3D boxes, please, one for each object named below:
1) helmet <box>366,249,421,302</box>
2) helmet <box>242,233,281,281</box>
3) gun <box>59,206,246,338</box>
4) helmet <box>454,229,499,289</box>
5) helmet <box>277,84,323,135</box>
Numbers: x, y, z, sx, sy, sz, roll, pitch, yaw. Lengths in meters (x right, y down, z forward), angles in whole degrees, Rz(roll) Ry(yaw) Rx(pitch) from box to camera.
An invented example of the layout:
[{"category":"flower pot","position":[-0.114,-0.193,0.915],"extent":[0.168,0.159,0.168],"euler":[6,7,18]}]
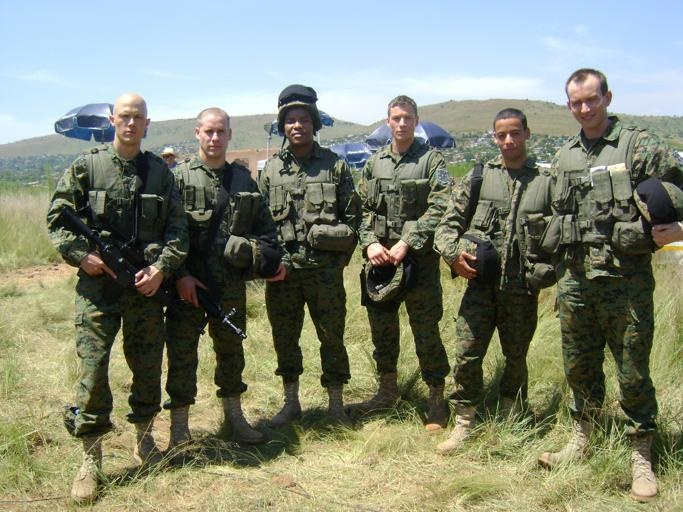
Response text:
[{"category":"helmet","position":[0.459,0.198,5.430],"extent":[0.538,0.520,0.406],"euler":[2,11,10]},{"category":"helmet","position":[-0.728,0.019,5.263],"extent":[0.348,0.403,0.244],"euler":[-3,11,-15]},{"category":"gun","position":[-1.603,0.105,4.807],"extent":[1.793,0.575,0.245],"euler":[38,-2,-5]},{"category":"helmet","position":[1.234,0.038,5.052],"extent":[0.346,0.411,0.441],"euler":[5,37,4]},{"category":"helmet","position":[-0.426,-1.491,5.622],"extent":[0.449,0.467,0.324],"euler":[-1,10,-5]}]
